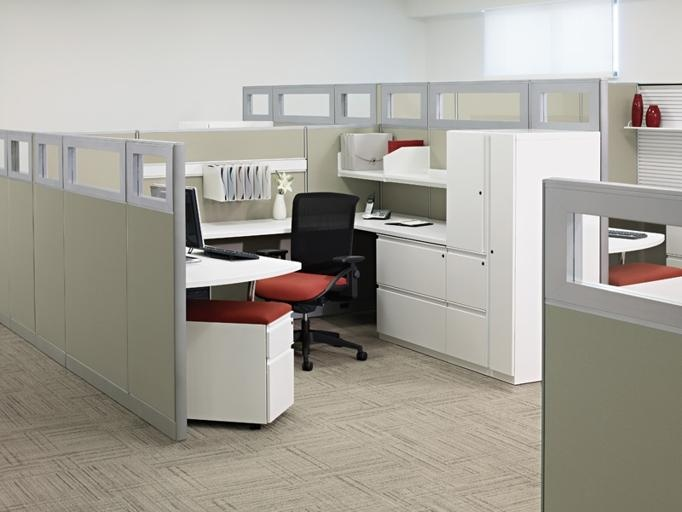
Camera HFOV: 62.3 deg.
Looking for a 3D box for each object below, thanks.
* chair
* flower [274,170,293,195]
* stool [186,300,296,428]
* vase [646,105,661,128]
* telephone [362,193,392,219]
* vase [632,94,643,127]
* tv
[{"bbox_3d":[-0.295,0.151,4.740,1.024,1.381,0.956,4,6,27],"label":"chair"},{"bbox_3d":[-0.562,-0.720,5.585,0.160,0.230,0.208,-1,10,-6],"label":"flower"},{"bbox_3d":[-0.651,0.653,3.492,0.907,0.819,0.511,0,2,9],"label":"stool"},{"bbox_3d":[3.350,-1.499,6.060,0.141,0.248,0.222,5,11,23],"label":"vase"},{"bbox_3d":[0.358,-0.492,5.676,0.285,0.249,0.246,0,4,1],"label":"telephone"},{"bbox_3d":[3.166,-1.548,6.026,0.108,0.353,0.157,4,11,22],"label":"vase"},{"bbox_3d":[-1.029,-0.203,3.494,0.172,0.452,0.474,-9,17,-26],"label":"tv"}]
